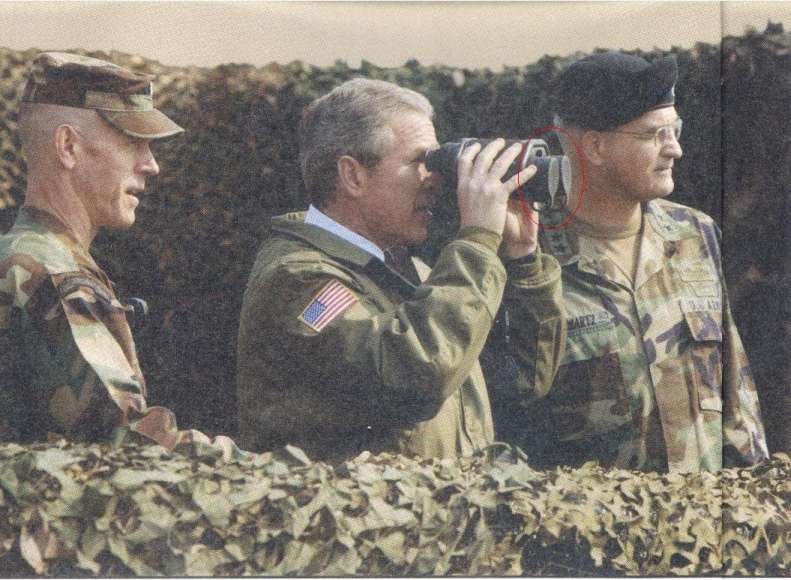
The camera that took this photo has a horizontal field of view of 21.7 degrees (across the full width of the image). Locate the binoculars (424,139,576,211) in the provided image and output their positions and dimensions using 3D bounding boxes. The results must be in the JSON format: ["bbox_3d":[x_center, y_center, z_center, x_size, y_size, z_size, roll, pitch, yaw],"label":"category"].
[{"bbox_3d":[0.848,-0.558,12.972,0.170,0.258,0.360,37,-4,24],"label":"binoculars"}]

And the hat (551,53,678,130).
[{"bbox_3d":[1.398,-1.275,13.186,0.631,0.472,0.740,10,14,30],"label":"hat"}]
